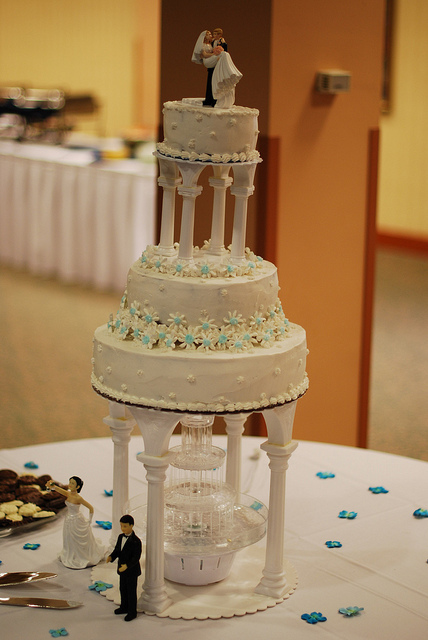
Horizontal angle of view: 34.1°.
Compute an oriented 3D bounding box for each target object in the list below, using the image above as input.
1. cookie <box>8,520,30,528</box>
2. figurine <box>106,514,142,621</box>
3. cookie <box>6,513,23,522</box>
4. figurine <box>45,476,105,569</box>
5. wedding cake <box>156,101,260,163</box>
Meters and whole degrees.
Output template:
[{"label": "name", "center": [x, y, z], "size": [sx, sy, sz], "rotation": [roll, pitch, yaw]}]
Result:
[{"label": "cookie", "center": [-1.439, 1.484, 5.081], "size": [0.069, 0.014, 0.062], "rotation": [2, 3, 2]}, {"label": "figurine", "center": [-0.504, 1.373, 3.908], "size": [0.187, 0.641, 0.223], "rotation": [5, 9, -4]}, {"label": "cookie", "center": [-1.484, 1.453, 5.154], "size": [0.119, 0.022, 0.153], "rotation": [1, 8, -20]}, {"label": "figurine", "center": [-0.866, 1.257, 4.668], "size": [0.373, 0.638, 0.319], "rotation": [14, 25, 40]}, {"label": "wedding cake", "center": [-0.036, -0.998, 3.736], "size": [0.526, 0.303, 0.279], "rotation": [4, 9, -6]}]
